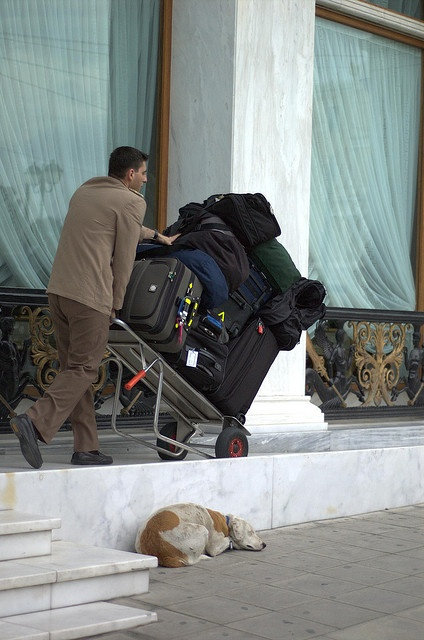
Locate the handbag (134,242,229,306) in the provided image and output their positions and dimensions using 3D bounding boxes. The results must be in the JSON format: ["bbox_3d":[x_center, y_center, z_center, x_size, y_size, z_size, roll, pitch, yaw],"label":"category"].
[{"bbox_3d":[-0.149,-0.214,2.993,0.442,0.307,0.451,6,-11,35],"label":"handbag"}]

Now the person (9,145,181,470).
[{"bbox_3d":[-0.616,-0.048,2.652,0.468,1.529,1.217,9,20,13],"label":"person"}]

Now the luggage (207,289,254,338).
[{"bbox_3d":[0.121,-0.031,3.119,0.274,0.208,0.097,-48,22,-21],"label":"luggage"}]

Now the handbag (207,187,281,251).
[{"bbox_3d":[0.246,-0.650,3.295,0.357,0.350,0.384,-15,18,17],"label":"handbag"}]

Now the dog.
[{"bbox_3d":[-0.038,0.951,2.471,0.508,0.201,0.289,6,-16,-41],"label":"dog"}]

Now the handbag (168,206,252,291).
[{"bbox_3d":[0.076,-0.355,3.136,0.333,0.461,0.476,-44,-21,8],"label":"handbag"}]

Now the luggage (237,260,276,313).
[{"bbox_3d":[0.276,-0.200,3.229,0.297,0.227,0.115,-50,16,-18],"label":"luggage"}]

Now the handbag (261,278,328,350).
[{"bbox_3d":[0.524,-0.042,3.486,0.324,0.410,0.585,16,38,31],"label":"handbag"}]

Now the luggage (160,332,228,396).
[{"bbox_3d":[-0.062,0.233,2.963,0.359,0.264,0.130,39,-24,-30],"label":"luggage"}]

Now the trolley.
[{"bbox_3d":[-0.300,0.444,3.076,0.614,0.647,1.014,-5,-20,44],"label":"trolley"}]

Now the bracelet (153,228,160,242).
[{"bbox_3d":[-0.314,-0.483,3.051,0.046,0.062,0.068,0,8,13],"label":"bracelet"}]

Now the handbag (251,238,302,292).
[{"bbox_3d":[0.374,-0.319,3.328,0.234,0.332,0.186,-37,6,-26],"label":"handbag"}]
